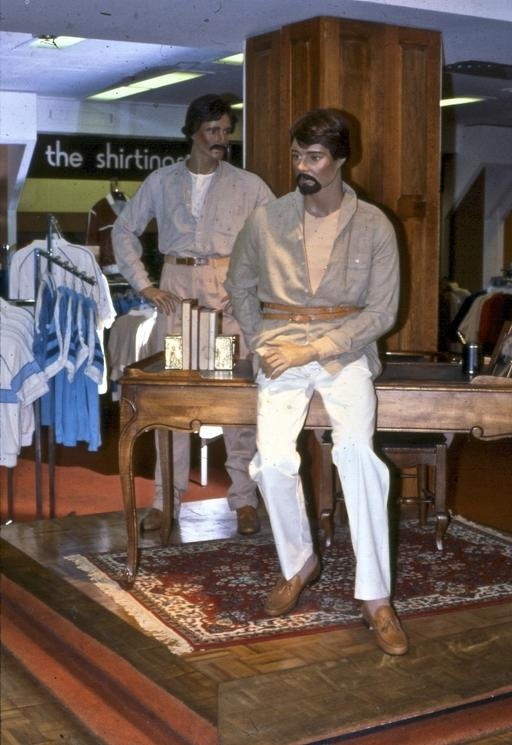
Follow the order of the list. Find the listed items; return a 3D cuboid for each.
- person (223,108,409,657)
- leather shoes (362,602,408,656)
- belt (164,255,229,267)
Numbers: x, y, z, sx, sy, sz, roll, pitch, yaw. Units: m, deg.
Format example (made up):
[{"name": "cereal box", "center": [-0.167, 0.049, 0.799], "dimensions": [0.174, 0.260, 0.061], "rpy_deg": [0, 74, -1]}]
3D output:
[{"name": "person", "center": [0.163, -0.001, 2.057], "dimensions": [0.586, 1.412, 0.423], "rpy_deg": [2, 5, 16]}, {"name": "leather shoes", "center": [0.326, 0.664, 1.875], "dimensions": [0.059, 0.065, 0.158], "rpy_deg": [-5, 1, -6]}, {"name": "belt", "center": [-0.238, -0.434, 2.840], "dimensions": [0.258, 0.045, 0.063], "rpy_deg": [1, 4, 10]}]
